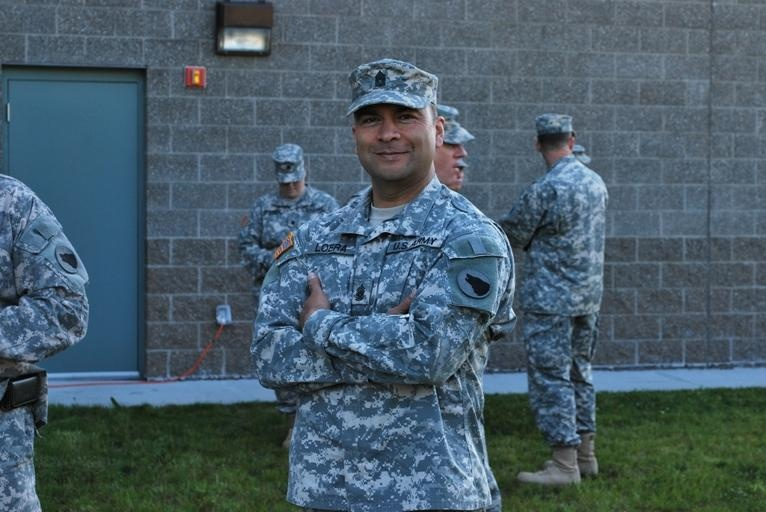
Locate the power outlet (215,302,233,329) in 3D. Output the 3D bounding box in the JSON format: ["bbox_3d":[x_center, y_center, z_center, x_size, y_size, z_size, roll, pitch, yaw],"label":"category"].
[{"bbox_3d":[-1.850,0.645,24.061,0.182,0.249,0.072,0,0,-2],"label":"power outlet"}]

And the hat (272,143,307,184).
[{"bbox_3d":[-1.021,-1.075,22.526,0.384,0.537,0.160,-10,-42,8],"label":"hat"}]

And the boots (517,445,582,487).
[{"bbox_3d":[1.779,2.152,21.492,0.748,0.439,0.287,-3,-3,34],"label":"boots"}]
